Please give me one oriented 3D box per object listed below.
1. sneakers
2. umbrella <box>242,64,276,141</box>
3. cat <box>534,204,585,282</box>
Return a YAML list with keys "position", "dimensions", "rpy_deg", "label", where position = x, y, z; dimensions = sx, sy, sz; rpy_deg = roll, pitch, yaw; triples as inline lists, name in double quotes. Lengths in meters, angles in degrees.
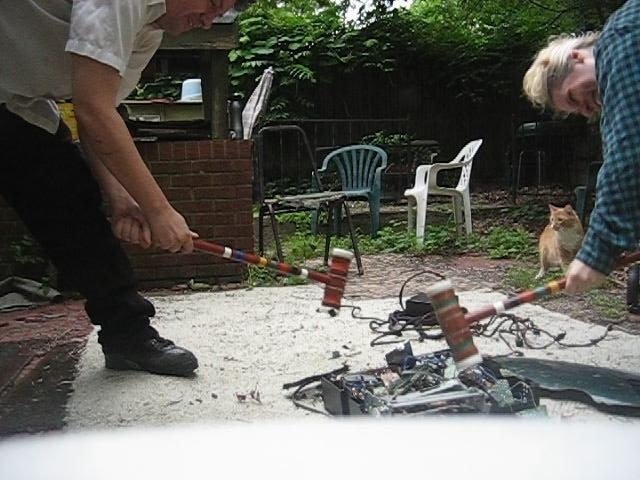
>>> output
- position: [-0.921, 0.608, 3.232]
  dimensions: [0.629, 0.253, 0.218]
  rpy_deg: [2, -1, 6]
  label: "sneakers"
- position: [-0.730, -1.588, 6.784]
  dimensions: [0.471, 1.016, 0.497]
  rpy_deg: [2, 11, -11]
  label: "umbrella"
- position: [2.207, -0.002, 5.556]
  dimensions: [0.463, 0.707, 0.447]
  rpy_deg: [1, 9, 7]
  label: "cat"
